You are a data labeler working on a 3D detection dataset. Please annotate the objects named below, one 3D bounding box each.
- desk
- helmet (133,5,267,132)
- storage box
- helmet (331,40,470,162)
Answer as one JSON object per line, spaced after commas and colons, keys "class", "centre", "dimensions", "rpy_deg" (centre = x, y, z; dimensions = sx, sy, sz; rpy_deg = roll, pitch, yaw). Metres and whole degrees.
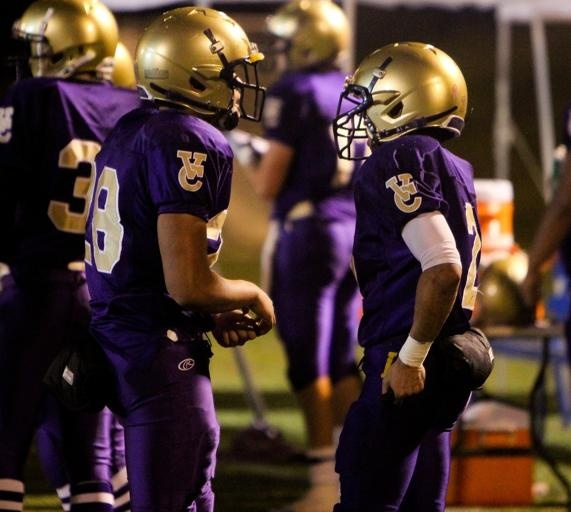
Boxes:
{"class": "desk", "centre": [1.075, 0.710, 4.438], "dimensions": [0.541, 0.845, 0.910], "rpy_deg": [1, 7, 10]}
{"class": "helmet", "centre": [-0.226, -0.551, 2.596], "dimensions": [0.375, 0.307, 0.304], "rpy_deg": [-6, 20, -18]}
{"class": "storage box", "centre": [0.980, 0.944, 4.344], "dimensions": [0.527, 0.525, 0.390], "rpy_deg": [0, 1, 6]}
{"class": "helmet", "centre": [0.339, -0.468, 2.632], "dimensions": [0.369, 0.327, 0.372], "rpy_deg": [-9, 18, -33]}
